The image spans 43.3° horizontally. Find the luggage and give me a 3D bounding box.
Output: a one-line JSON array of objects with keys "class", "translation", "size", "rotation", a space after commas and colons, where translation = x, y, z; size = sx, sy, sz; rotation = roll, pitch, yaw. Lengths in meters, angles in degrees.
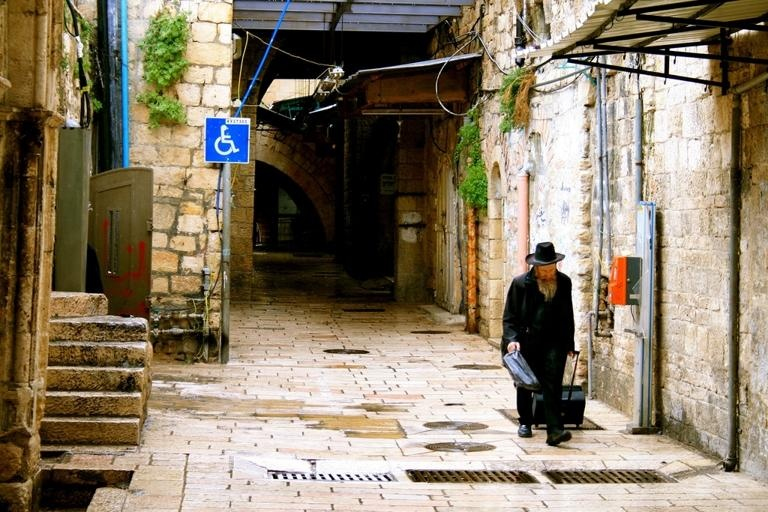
[{"class": "luggage", "translation": [1.929, 1.447, 10.730], "size": [0.573, 0.890, 0.569], "rotation": [1, -2, -11]}]

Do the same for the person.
[{"class": "person", "translation": [1.619, 0.917, 10.202], "size": [0.757, 2.113, 0.438], "rotation": [1, 2, 11]}]

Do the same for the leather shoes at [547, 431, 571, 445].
[{"class": "leather shoes", "translation": [1.792, 1.887, 10.051], "size": [0.263, 0.118, 0.115], "rotation": [-24, -12, 33]}]
